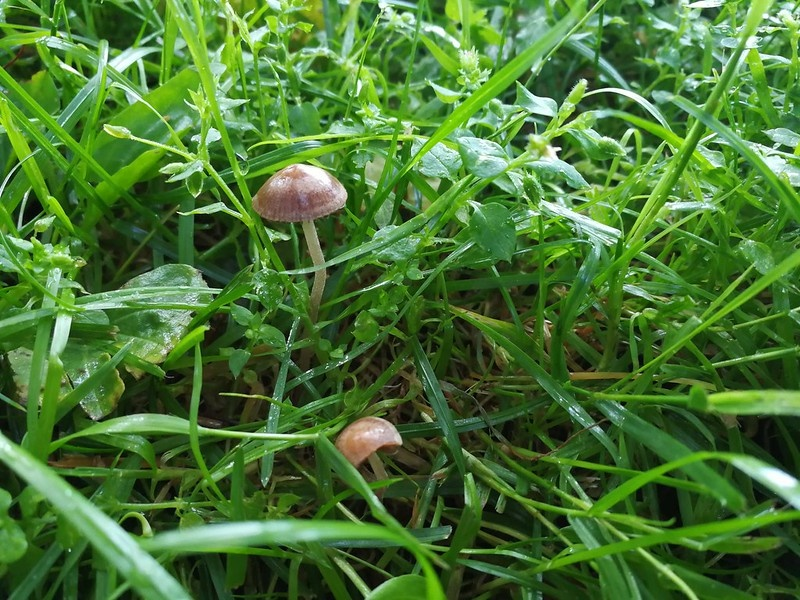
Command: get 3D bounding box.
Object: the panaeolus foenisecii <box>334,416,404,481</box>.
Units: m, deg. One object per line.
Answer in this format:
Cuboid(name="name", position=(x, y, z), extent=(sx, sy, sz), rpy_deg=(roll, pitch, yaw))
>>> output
Cuboid(name="panaeolus foenisecii", position=(-0.053, 0.241, 1.152), extent=(0.085, 0.079, 0.078), rpy_deg=(-24, 31, -9))
